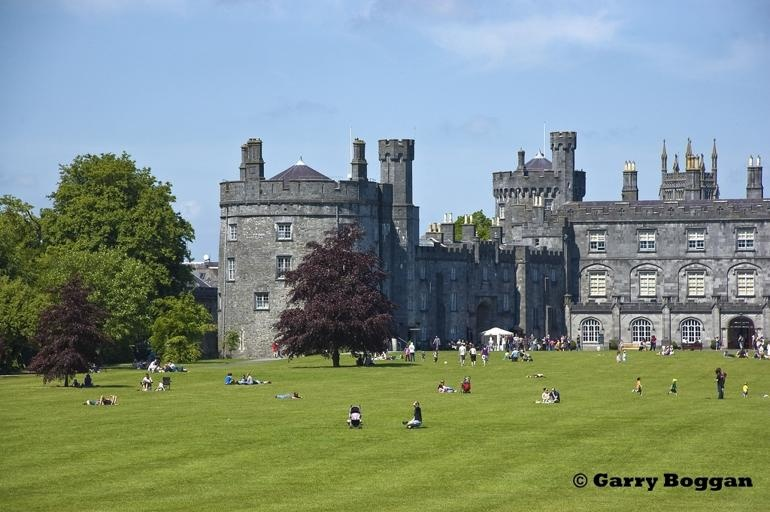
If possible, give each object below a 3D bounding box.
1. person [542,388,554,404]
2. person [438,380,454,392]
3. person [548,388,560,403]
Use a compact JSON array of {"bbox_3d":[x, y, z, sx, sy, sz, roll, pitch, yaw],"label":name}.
[{"bbox_3d":[11.452,9.747,115.795,0.921,0.913,0.873,2,-5,-8],"label":"person"},{"bbox_3d":[4.561,9.530,120.330,1.231,0.697,0.590,-1,0,0],"label":"person"},{"bbox_3d":[11.939,9.776,115.971,0.940,1.122,0.720,7,-9,-20],"label":"person"}]
